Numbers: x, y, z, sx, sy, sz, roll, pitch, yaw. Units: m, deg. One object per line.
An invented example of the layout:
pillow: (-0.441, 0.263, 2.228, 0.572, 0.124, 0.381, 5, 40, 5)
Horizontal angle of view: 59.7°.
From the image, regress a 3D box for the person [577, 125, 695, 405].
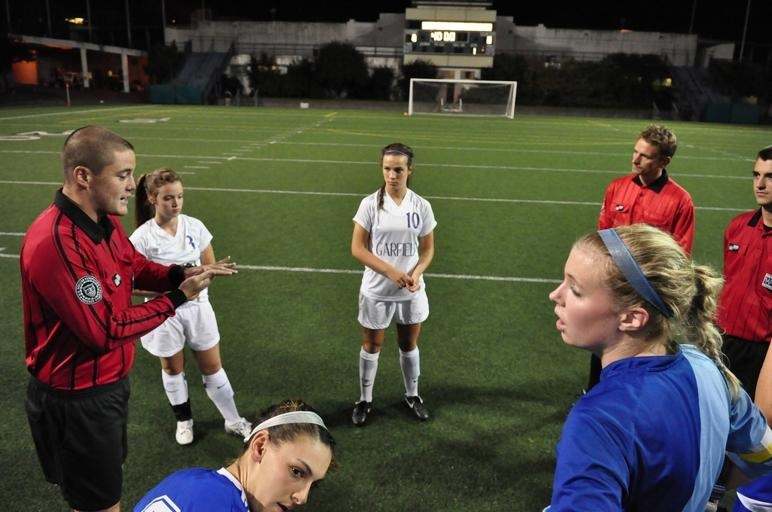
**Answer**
person: (2.544, 0.163, 7.150, 0.927, 2.940, 0.929, 19, 29, 34)

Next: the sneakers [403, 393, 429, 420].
sneakers: (0.293, 1.474, 6.564, 0.126, 0.121, 0.299, -5, 5, -18)
